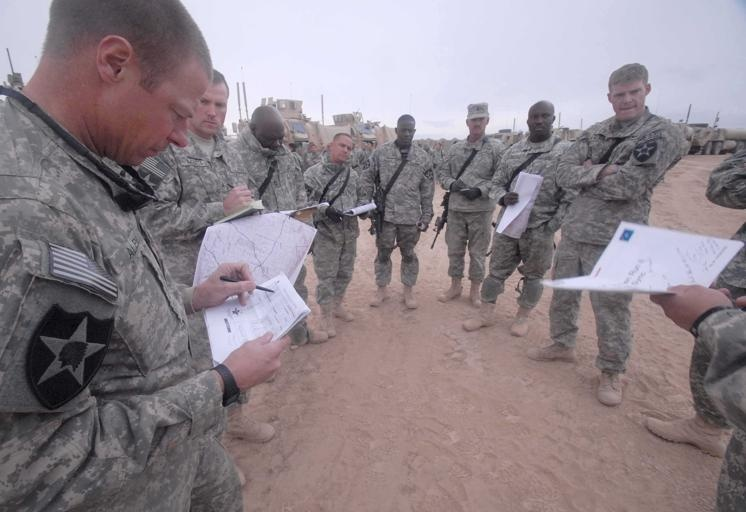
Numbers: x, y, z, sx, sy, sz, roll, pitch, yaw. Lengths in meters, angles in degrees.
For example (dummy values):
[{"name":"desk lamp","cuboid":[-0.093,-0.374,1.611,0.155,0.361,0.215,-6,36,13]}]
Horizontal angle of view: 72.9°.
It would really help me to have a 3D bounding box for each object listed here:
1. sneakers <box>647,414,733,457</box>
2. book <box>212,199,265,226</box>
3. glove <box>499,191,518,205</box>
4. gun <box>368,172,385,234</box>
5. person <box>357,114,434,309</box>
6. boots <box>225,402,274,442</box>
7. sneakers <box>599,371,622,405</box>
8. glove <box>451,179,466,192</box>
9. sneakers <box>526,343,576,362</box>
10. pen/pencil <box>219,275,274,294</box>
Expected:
[{"name":"sneakers","cuboid":[2.135,1.174,3.468,0.170,0.232,0.477,-20,28,-36]},{"name":"book","cuboid":[-0.798,-0.259,3.068,0.201,0.061,0.195,-26,12,-9]},{"name":"glove","cuboid":[1.229,-0.509,4.619,0.093,0.159,0.230,-2,19,-13]},{"name":"gun","cuboid":[-0.021,-0.538,5.358,0.147,0.650,0.286,5,3,-15]},{"name":"person","cuboid":[0.280,-0.461,5.542,0.753,2.058,0.521,2,19,-2]},{"name":"boots","cuboid":[-0.899,1.219,3.681,0.327,0.121,0.224,14,8,2]},{"name":"sneakers","cuboid":[1.815,0.998,3.868,0.119,0.122,0.330,-2,10,24]},{"name":"glove","cuboid":[0.927,-0.773,5.484,0.115,0.122,0.130,-25,26,-34]},{"name":"sneakers","cuboid":[1.550,0.837,4.373,0.349,0.153,0.159,7,21,16]},{"name":"pen/pencil","cuboid":[-0.664,0.149,2.620,0.254,0.027,0.026,17,-19,-20]}]
